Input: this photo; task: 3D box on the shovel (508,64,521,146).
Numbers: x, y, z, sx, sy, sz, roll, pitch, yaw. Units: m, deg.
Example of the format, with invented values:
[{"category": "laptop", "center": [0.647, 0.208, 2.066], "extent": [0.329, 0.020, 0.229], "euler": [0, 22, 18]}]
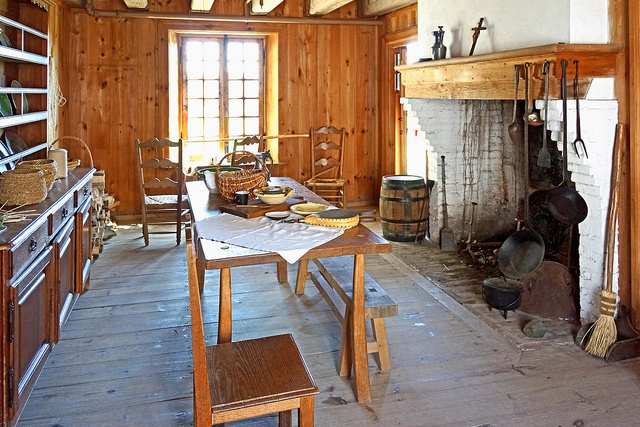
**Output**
[{"category": "shovel", "center": [1.744, -0.969, 4.149], "extent": [0.150, 0.699, 0.058], "euler": [-10, 13, -26]}]

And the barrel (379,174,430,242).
[{"category": "barrel", "center": [1.053, -0.027, 5.808], "extent": [0.585, 0.858, 0.333], "euler": [0, 14, 12]}]

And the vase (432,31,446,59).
[{"category": "vase", "center": [1.309, -1.831, 5.066], "extent": [0.228, 0.279, 0.132], "euler": [-15, 18, -41]}]

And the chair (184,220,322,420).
[{"category": "chair", "center": [-0.443, 0.705, 3.054], "extent": [0.725, 1.347, 0.751], "euler": [-7, 26, -13]}]

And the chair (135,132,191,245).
[{"category": "chair", "center": [-2.214, -0.375, 6.379], "extent": [0.642, 1.327, 1.526], "euler": [-7, 14, -19]}]

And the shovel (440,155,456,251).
[{"category": "shovel", "center": [1.566, -0.093, 5.749], "extent": [0.222, 1.213, 0.116], "euler": [0, 6, 42]}]

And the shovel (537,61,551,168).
[{"category": "shovel", "center": [1.812, -0.786, 3.702], "extent": [0.093, 0.807, 0.455], "euler": [4, 15, 24]}]

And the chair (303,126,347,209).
[{"category": "chair", "center": [0.138, -0.749, 7.368], "extent": [0.632, 1.287, 0.705], "euler": [0, 11, -11]}]

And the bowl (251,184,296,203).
[{"category": "bowl", "center": [-0.389, -0.146, 3.562], "extent": [0.210, 0.060, 0.211], "euler": [-3, 11, 1]}]

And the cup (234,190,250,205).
[{"category": "cup", "center": [-0.615, -0.114, 3.570], "extent": [0.117, 0.089, 0.097], "euler": [-2, 3, -14]}]

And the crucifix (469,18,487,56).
[{"category": "crucifix", "center": [1.544, -1.738, 4.548], "extent": [0.105, 0.336, 0.172], "euler": [-9, 15, -24]}]
